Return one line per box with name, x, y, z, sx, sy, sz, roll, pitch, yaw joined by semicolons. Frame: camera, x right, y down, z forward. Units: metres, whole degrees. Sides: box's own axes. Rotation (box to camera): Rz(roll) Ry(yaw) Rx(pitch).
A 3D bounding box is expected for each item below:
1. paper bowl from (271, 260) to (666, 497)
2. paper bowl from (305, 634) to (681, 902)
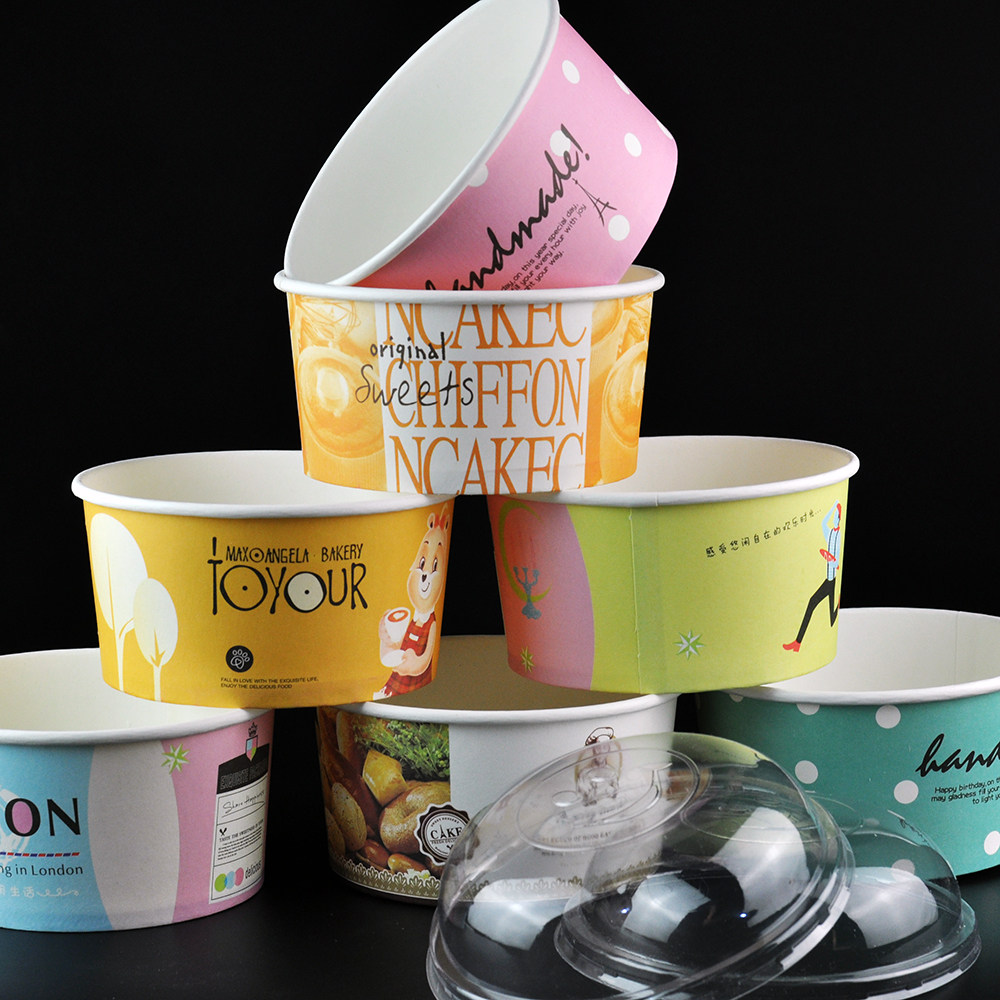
paper bowl;-0.042;-0.120;1.149;0.257;0.147;0.279;1;9;0
paper bowl;0.004;0.308;1.313;0.395;0.227;0.400;-1;5;0
